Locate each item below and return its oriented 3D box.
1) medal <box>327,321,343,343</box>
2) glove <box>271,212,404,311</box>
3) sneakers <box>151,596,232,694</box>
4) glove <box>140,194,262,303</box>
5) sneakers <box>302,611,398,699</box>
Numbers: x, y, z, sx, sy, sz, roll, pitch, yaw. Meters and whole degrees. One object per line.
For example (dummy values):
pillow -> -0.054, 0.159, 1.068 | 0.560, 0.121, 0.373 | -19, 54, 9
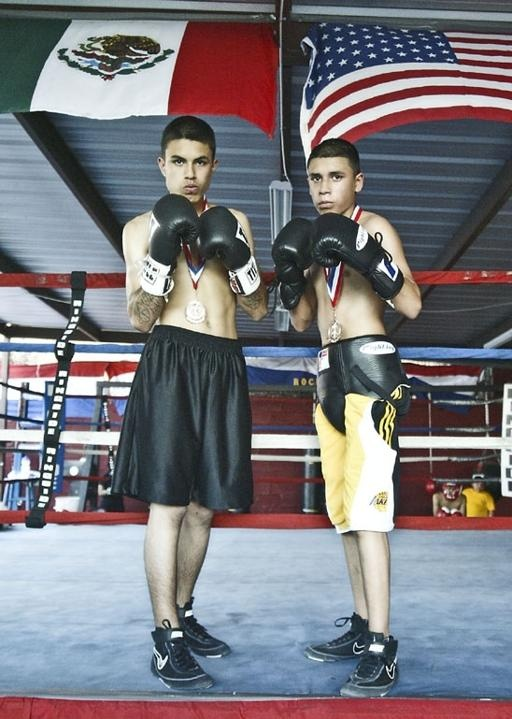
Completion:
medal -> 0.221, -0.077, 1.886 | 0.017, 0.055, 0.038 | 14, -9, -39
glove -> 0.228, -0.263, 1.847 | 0.455, 0.156, 0.266 | 4, -43, 33
sneakers -> -0.170, 0.693, 1.595 | 0.097, 0.121, 0.286 | -6, -14, -27
glove -> -0.141, -0.301, 1.704 | 0.323, 0.277, 0.157 | 1, 14, -16
sneakers -> 0.239, 0.684, 1.538 | 0.149, 0.066, 0.187 | 9, -9, -19
